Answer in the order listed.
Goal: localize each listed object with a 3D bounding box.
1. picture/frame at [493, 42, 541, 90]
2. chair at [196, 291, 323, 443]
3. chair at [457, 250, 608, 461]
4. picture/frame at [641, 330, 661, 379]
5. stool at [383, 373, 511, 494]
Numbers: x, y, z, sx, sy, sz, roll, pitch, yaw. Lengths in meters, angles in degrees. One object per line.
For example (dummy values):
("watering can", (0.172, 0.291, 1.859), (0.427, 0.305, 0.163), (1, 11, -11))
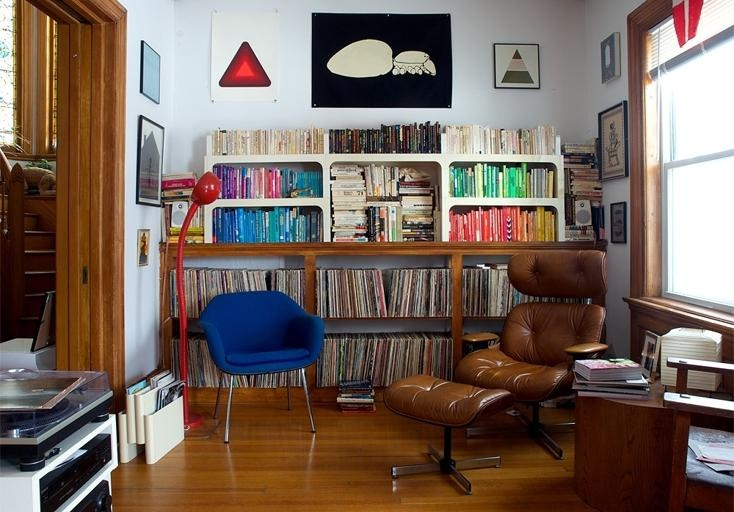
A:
("picture/frame", (1.319, -1.692, 5.385), (0.402, 0.394, 0.041), (0, -4, -3))
("chair", (-0.833, 0.820, 4.709), (0.896, 1.043, 0.693), (0, 1, -21))
("chair", (1.181, 0.666, 4.381), (1.067, 1.308, 0.978), (-1, 0, -45))
("picture/frame", (2.026, 0.711, 4.313), (0.086, 0.217, 0.247), (9, 16, 16))
("stool", (0.542, 1.172, 4.068), (0.803, 0.622, 0.641), (1, 1, 43))
